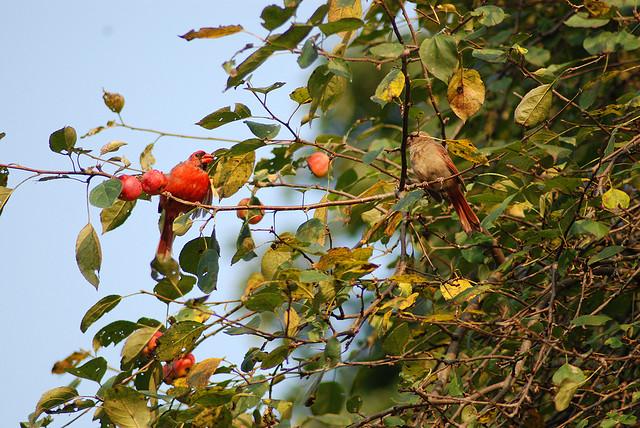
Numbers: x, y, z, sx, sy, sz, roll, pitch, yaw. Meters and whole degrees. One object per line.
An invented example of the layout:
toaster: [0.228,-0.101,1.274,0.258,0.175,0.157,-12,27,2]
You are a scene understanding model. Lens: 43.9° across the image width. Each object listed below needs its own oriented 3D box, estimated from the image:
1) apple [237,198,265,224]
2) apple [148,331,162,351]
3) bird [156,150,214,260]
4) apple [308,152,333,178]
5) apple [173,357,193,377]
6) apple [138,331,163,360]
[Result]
apple: [-0.470,-0.022,5.407,0.168,0.168,0.169,4,-2,16]
apple: [-1.211,0.911,5.845,0.124,0.123,0.148,-7,-71,-10]
bird: [-1.056,-0.123,6.031,0.381,0.509,0.691,19,-38,-27]
apple: [-0.018,-0.377,5.950,0.154,0.234,0.176,11,-15,1]
apple: [-1.009,1.122,5.805,0.134,0.162,0.140,8,-29,2]
apple: [-1.232,0.953,5.713,0.145,0.146,0.114,-49,-67,-11]
